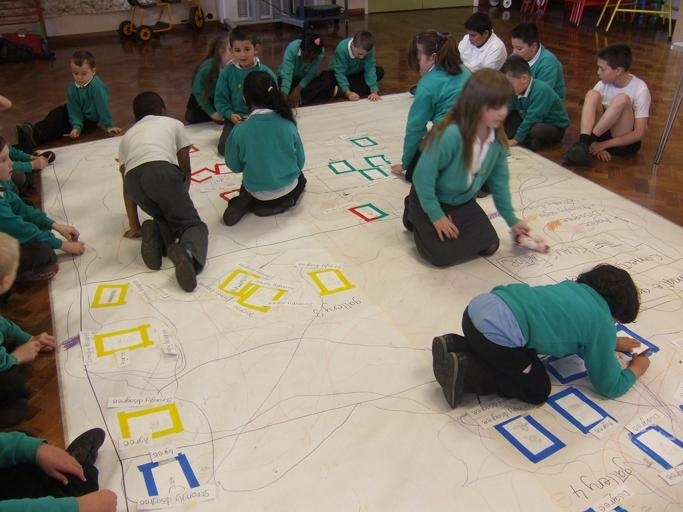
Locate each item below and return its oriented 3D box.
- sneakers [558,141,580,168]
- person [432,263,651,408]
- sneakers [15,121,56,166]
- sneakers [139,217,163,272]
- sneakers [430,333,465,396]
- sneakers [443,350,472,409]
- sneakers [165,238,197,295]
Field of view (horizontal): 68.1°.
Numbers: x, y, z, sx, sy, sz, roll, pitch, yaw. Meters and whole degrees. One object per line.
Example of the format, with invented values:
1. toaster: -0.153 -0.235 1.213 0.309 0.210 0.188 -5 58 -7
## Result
1. sneakers: 1.841 -0.824 4.036 0.120 0.141 0.328 10 28 13
2. person: 0.797 0.367 2.304 0.922 0.514 0.511 -10 18 -1
3. sneakers: -2.500 -0.926 4.046 0.233 0.259 0.605 -20 37 -28
4. sneakers: -1.115 -0.069 2.944 0.123 0.291 0.123 0 -9 -1
5. sneakers: 0.458 0.469 2.181 0.082 0.234 0.154 -3 16 -21
6. sneakers: 0.481 0.523 2.154 0.099 0.258 0.088 -19 34 -24
7. sneakers: -0.882 0.064 2.857 0.117 0.135 0.320 -27 68 11
